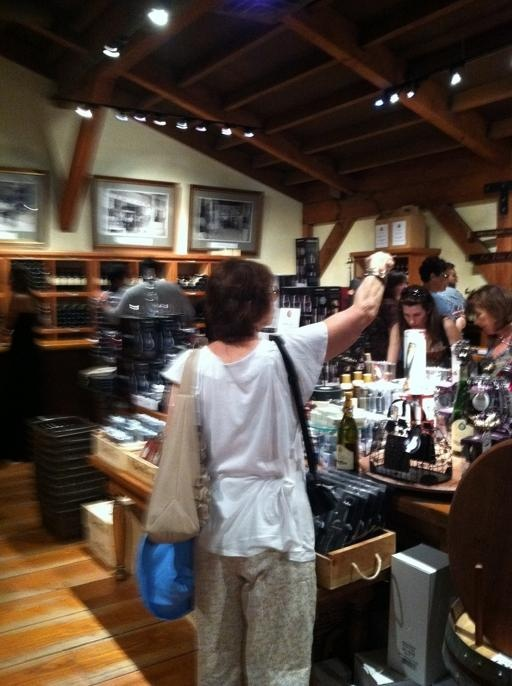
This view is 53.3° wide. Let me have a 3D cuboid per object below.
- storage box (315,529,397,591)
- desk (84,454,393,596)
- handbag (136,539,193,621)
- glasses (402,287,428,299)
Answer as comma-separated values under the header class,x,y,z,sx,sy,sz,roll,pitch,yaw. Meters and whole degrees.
class,x,y,z,sx,sy,sz,roll,pitch,yaw
storage box,0.301,0.634,1.482,0.172,0.057,0.164,-3,0,-34
desk,-0.140,0.455,1.570,0.812,0.407,0.538,2,3,41
handbag,-0.206,0.486,1.139,0.153,0.071,0.209,-7,32,-14
glasses,0.889,-0.275,2.836,0.101,0.030,0.086,-9,21,-22
